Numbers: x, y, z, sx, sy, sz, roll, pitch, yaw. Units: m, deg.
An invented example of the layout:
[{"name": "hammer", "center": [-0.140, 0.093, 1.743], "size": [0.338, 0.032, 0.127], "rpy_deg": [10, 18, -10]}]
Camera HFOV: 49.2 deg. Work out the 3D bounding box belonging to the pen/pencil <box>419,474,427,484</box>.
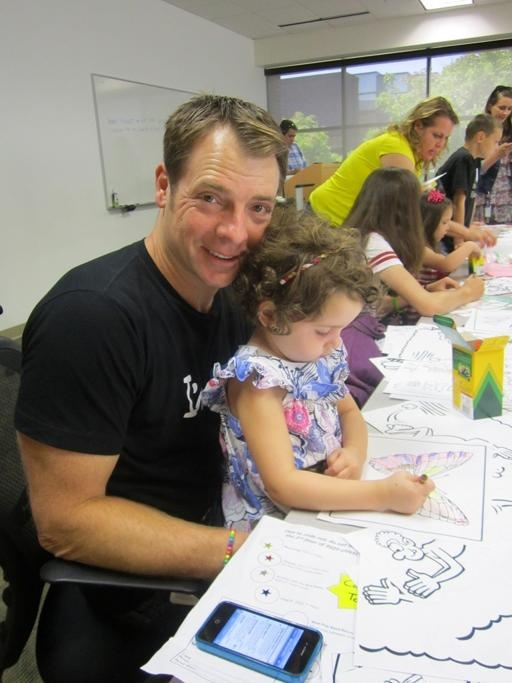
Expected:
[{"name": "pen/pencil", "center": [0.259, 0.211, 0.867], "size": [0.010, 0.003, 0.010], "rpy_deg": [-7, 11, 6]}]
